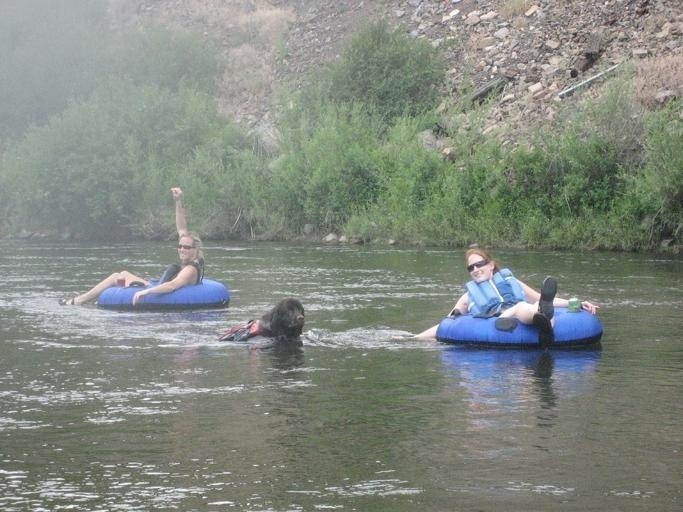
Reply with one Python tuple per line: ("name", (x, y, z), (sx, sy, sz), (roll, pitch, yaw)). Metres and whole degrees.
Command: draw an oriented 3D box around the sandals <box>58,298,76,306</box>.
("sandals", (-7.325, 1.208, 34.812), (0.374, 0.120, 0.216), (-2, 3, 15))
